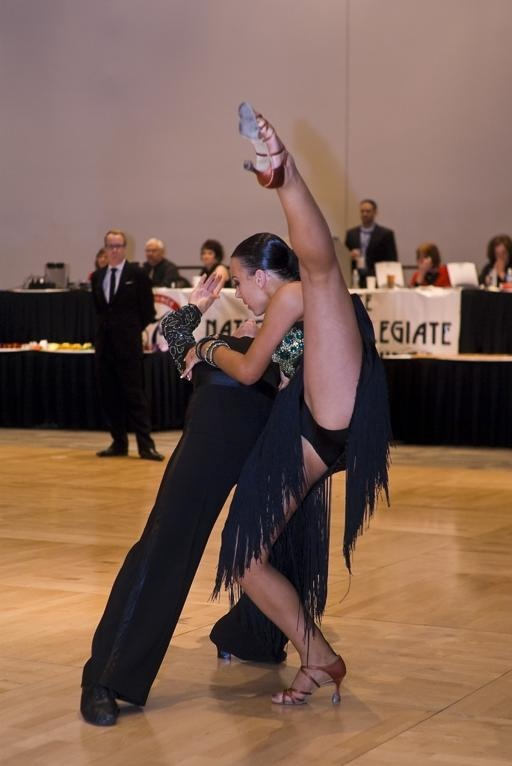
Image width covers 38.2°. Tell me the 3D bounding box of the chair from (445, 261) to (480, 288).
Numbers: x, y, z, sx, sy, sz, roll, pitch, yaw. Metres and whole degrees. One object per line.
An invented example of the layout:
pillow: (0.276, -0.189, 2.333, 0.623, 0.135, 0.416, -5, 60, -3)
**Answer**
chair: (2.013, -1.055, 7.233, 0.277, 0.324, 0.513, 1, -2, 14)

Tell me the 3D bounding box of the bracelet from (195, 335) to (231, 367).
bracelet: (-0.108, -0.073, 1.664, 0.068, 0.041, 0.073, 4, -15, 0)

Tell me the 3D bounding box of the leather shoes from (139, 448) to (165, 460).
leather shoes: (-0.875, 0.600, 6.232, 0.089, 0.092, 0.241, -4, 0, -44)

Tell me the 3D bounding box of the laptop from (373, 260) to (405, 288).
laptop: (1.332, -1.083, 7.382, 0.320, 0.291, 0.304, 2, 14, 5)

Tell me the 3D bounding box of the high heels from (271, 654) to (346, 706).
high heels: (0.134, 0.673, 1.686, 0.214, 0.124, 0.074, 2, -7, -9)

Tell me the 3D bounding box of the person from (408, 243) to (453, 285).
person: (1.799, -1.226, 7.679, 0.358, 0.585, 0.807, 1, -1, 11)

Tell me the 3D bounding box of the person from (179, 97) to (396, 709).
person: (0.115, 0.172, 1.414, 0.381, 1.092, 0.594, 1, -1, -3)

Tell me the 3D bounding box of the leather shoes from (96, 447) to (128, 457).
leather shoes: (-1.228, 0.589, 6.379, 0.286, 0.110, 0.101, 3, -5, -10)
